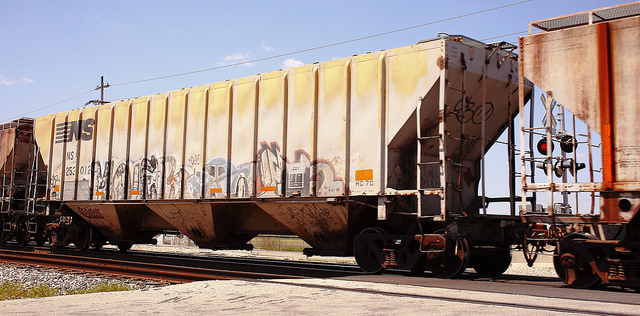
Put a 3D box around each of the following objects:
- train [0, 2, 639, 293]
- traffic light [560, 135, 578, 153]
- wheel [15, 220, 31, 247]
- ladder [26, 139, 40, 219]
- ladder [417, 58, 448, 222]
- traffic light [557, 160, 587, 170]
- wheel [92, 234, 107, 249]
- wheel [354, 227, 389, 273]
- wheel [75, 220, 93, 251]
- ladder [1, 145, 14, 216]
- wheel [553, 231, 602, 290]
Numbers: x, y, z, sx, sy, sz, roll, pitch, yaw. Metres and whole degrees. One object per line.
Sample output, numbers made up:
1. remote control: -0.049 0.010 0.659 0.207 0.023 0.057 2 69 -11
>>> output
1. train: -3.413 0.000 23.318 30.770 9.646 3.604 -1 -1 24
2. traffic light: 8.430 -0.491 17.533 0.318 0.549 0.631 -1 -1 -4
3. wheel: -15.796 4.015 27.560 1.263 1.411 0.401 -2 -1 39
4. ladder: -15.064 1.082 27.153 0.550 4.157 1.604 0 -1 -33
5. ladder: 4.118 -0.654 19.274 1.158 5.973 1.417 -1 -1 4
6. traffic light: 7.728 0.202 15.984 0.402 0.314 0.676 -1 5 -39
7. wheel: -11.355 4.268 26.576 0.683 0.827 0.563 0 -1 -24
8. wheel: 1.958 3.527 19.595 1.384 1.721 0.281 -1 -1 26
9. wheel: -11.925 3.926 26.165 0.860 1.584 0.361 -1 -1 20
10. ladder: -17.050 1.161 28.139 0.548 3.636 0.772 0 -1 -39
11. wheel: 8.674 3.654 17.494 1.813 1.821 0.636 8 -44 2
